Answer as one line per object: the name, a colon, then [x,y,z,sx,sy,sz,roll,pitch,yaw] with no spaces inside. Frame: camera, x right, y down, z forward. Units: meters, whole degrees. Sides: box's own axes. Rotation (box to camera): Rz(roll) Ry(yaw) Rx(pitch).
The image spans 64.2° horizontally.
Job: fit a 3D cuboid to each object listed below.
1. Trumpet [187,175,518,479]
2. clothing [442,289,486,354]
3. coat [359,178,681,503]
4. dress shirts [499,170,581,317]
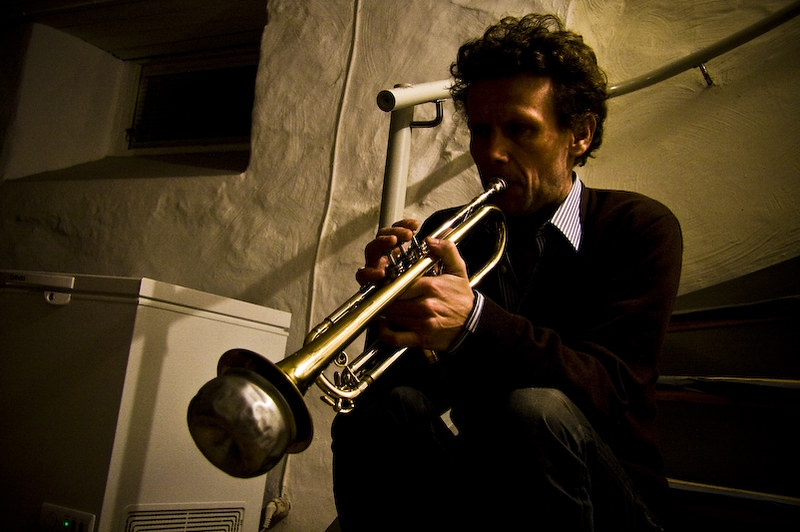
Trumpet: [-0.066,0.079,2.301,1.610,0.694,0.470,-32,1,-42]
clothing: [0.221,0.177,2.064,0.088,0.186,0.107,50,-18,-14]
coat: [0.414,0.242,2.284,0.916,1.109,0.604,10,28,-4]
dress shirts: [0.504,-0.070,2.405,0.222,0.482,0.360,-4,-12,39]
